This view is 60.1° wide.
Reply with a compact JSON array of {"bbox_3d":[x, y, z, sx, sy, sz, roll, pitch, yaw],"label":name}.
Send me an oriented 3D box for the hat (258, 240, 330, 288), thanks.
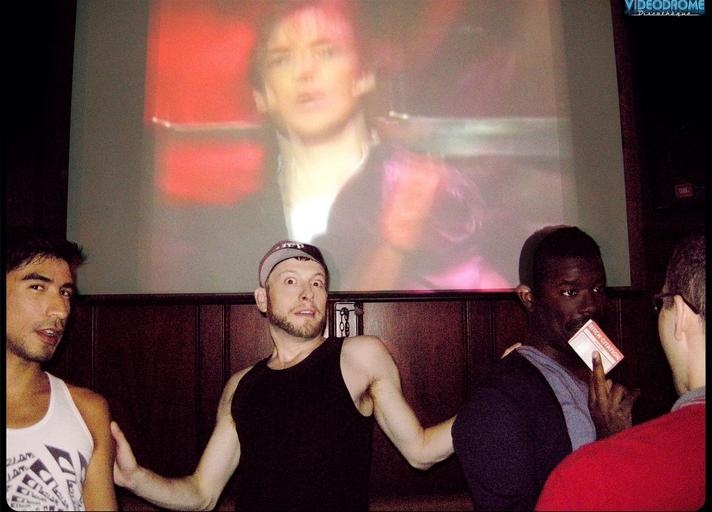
[{"bbox_3d":[-0.398,0.006,3.482,0.343,0.264,0.565,-10,-4,-22],"label":"hat"}]
